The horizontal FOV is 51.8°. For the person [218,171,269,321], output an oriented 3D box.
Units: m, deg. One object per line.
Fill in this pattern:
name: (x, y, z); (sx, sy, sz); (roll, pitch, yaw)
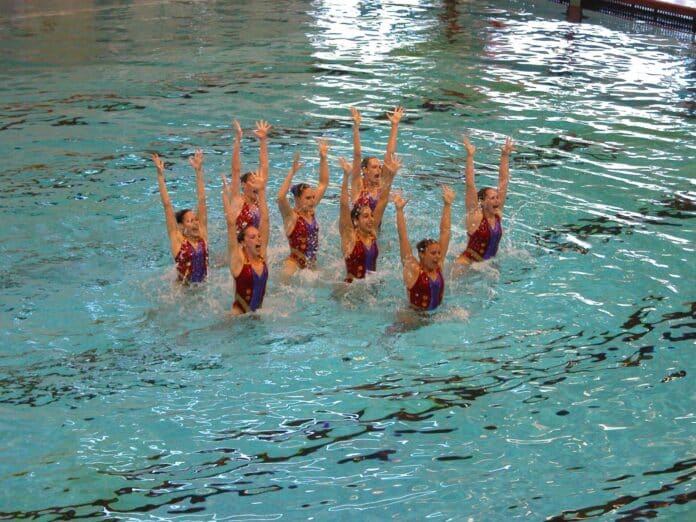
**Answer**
person: (-1.002, -0.113, 7.076); (0.429, 1.268, 0.578); (0, 27, -7)

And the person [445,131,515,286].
person: (1.483, -0.623, 7.922); (0.602, 1.439, 1.227); (9, 25, 9)

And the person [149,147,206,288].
person: (-1.795, -0.516, 7.738); (0.541, 1.375, 1.142); (-2, 25, -11)
